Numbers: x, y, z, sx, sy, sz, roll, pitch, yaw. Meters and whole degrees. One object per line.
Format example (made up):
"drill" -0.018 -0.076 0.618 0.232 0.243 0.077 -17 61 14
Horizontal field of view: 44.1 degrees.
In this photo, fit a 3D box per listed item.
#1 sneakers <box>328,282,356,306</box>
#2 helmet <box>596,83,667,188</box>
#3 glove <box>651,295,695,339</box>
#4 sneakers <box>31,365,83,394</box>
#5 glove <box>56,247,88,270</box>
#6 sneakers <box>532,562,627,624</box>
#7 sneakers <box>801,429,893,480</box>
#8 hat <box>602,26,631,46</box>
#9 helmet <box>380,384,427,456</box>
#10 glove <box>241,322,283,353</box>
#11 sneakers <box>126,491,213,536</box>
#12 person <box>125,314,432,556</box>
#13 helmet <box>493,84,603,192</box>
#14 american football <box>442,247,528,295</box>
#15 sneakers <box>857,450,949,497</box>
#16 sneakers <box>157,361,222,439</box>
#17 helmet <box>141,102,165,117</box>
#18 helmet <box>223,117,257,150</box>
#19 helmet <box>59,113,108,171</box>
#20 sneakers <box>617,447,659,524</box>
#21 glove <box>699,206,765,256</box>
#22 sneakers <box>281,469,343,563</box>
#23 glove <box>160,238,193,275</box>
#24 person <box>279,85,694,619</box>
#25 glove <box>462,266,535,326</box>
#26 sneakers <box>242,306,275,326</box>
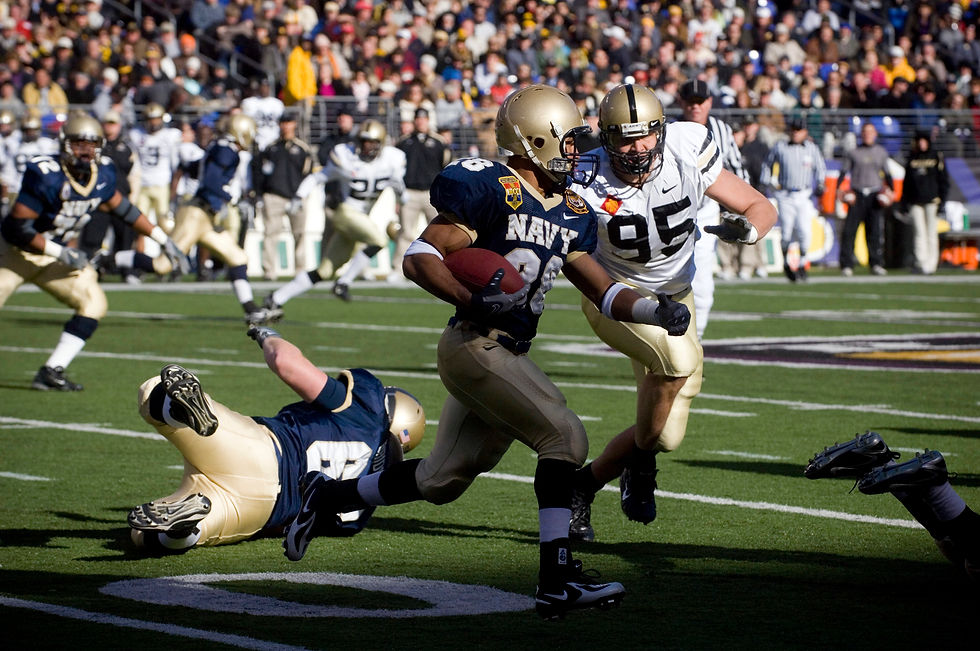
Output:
"sneakers" -1.849 -0.383 14.966 0.374 0.241 0.127 26 37 24
"helmet" 0.650 -0.918 5.755 0.339 0.385 0.439 -4 43 0
"glove" 0.737 -0.028 4.806 0.169 0.130 0.079 30 -47 -35
"sneakers" -3.281 0.410 9.227 0.405 0.186 0.156 8 3 -9
"glove" -3.071 -0.500 8.933 0.192 0.134 0.079 16 -45 -27
"sneakers" 0.278 1.042 4.725 0.443 0.250 0.151 -7 -24 -3
"sneakers" 1.480 0.547 5.039 0.320 0.129 0.199 -22 12 9
"hat" 2.233 -5.222 21.816 0.553 0.168 0.544 27 18 17
"helmet" -0.452 0.475 6.058 0.233 0.299 0.260 5 -35 -37
"glove" -1.549 0.083 8.129 0.298 0.160 0.382 18 3 9
"sneakers" -1.366 0.804 5.183 0.282 0.164 0.103 -14 -13 -24
"person" -0.989 0.619 5.734 0.890 0.904 1.715 11 -2 38
"helmet" 0.216 -0.809 5.225 0.467 0.415 0.398 -3 5 0
"american football" -0.026 -0.230 4.859 0.264 0.152 0.174 27 29 6
"sneakers" 1.655 0.597 4.939 0.332 0.120 0.166 -6 3 1
"sneakers" -1.316 0.321 5.225 0.115 0.328 0.189 -48 1 38
"helmet" -4.691 -3.012 16.938 0.229 0.165 0.230 3 6 36
"helmet" -2.656 -2.102 13.073 0.331 0.389 0.538 -8 15 -20
"helmet" -2.990 -1.361 8.886 0.309 0.339 0.395 3 8 -23
"sneakers" 0.684 0.778 5.830 0.142 0.375 0.180 1 -11 -22
"glove" 1.134 -0.448 5.724 0.217 0.086 0.208 19 -4 10
"sneakers" -0.781 0.824 5.272 0.158 0.441 0.202 26 1 0
"glove" -2.513 -0.531 9.728 0.091 0.299 0.303 -39 20 -3
"person" 0.015 0.023 5.033 1.443 2.067 0.772 4 6 42
"glove" 0.005 -0.111 4.877 0.255 0.186 0.180 -25 14 -6
"sneakers" -2.239 -0.100 11.737 0.435 0.185 0.143 -6 -12 24
